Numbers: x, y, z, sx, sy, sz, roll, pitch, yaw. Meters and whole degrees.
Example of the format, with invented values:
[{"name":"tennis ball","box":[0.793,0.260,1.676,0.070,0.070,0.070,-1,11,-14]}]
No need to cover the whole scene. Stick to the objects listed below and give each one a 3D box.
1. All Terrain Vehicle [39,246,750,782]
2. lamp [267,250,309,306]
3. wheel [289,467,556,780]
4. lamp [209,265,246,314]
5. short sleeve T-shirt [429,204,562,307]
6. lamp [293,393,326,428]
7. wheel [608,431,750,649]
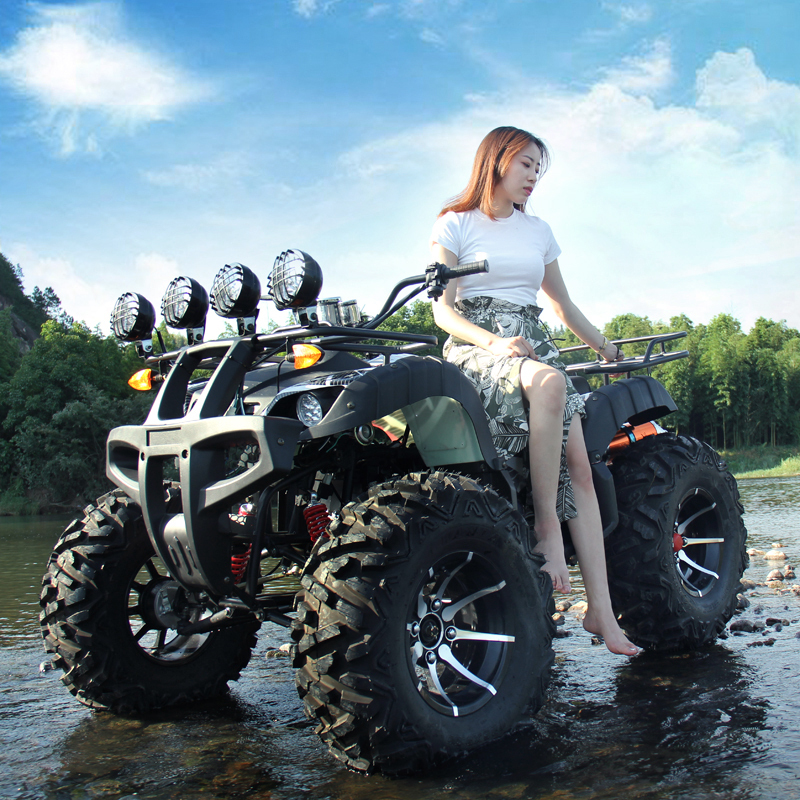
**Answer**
[{"name":"All Terrain Vehicle","box":[0.145,0.336,3.564,2.058,1.789,3.131,-10,-9,41]},{"name":"lamp","box":[-0.404,-0.416,2.300,0.088,0.205,0.283,-2,-3,-28]},{"name":"wheel","box":[0.126,0.785,2.288,1.055,0.950,0.343,18,-23,-37]},{"name":"lamp","box":[-0.657,-0.415,2.490,0.174,0.206,0.074,-6,-4,45]},{"name":"short sleeve T-shirt","box":[0.486,-0.650,3.192,0.666,0.591,0.337,2,10,-12]},{"name":"lamp","box":[-0.326,0.033,2.242,0.109,0.106,0.029,-1,-3,13]},{"name":"wheel","box":[1.527,0.797,3.653,0.394,1.129,1.192,-12,-1,42]}]
